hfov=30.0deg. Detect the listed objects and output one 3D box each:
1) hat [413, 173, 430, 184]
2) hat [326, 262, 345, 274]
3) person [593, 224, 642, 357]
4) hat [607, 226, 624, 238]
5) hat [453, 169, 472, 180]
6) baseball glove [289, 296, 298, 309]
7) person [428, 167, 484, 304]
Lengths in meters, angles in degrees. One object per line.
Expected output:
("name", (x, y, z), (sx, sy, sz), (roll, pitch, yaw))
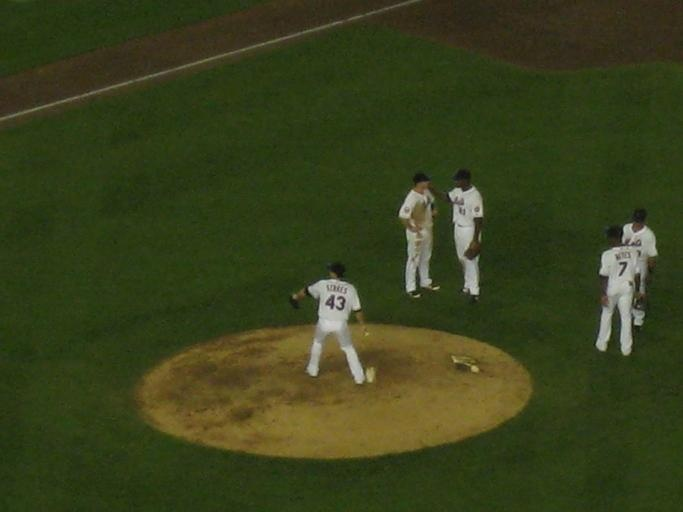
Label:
("hat", (1.676, -1.581, 26.097), (0.302, 0.217, 0.284), (2, 8, 2))
("hat", (-0.070, 0.197, 23.989), (0.316, 0.296, 0.719), (2, 9, -2))
("person", (5.396, 0.672, 24.675), (0.749, 2.562, 0.583), (3, 8, 10))
("hat", (5.301, -0.486, 24.564), (0.353, 0.250, 0.291), (2, 8, 1))
("hat", (2.484, -1.649, 25.832), (0.308, 0.272, 0.837), (2, 9, 3))
("baseball glove", (-0.870, 0.890, 24.487), (0.174, 0.278, 0.098), (-6, 1, -2))
("person", (2.563, -0.438, 26.390), (0.738, 2.707, 0.649), (3, 8, 11))
